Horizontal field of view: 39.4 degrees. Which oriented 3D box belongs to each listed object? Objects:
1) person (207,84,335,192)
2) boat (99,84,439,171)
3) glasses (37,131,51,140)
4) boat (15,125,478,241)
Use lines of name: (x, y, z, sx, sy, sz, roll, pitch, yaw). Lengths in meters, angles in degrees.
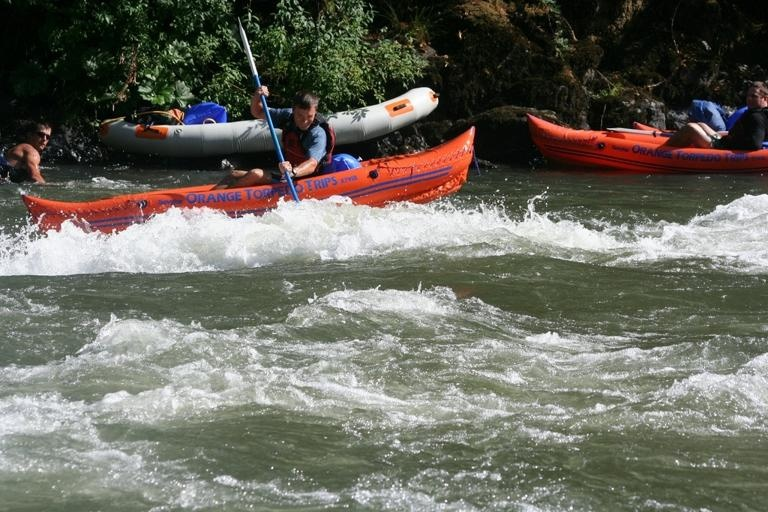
person: (-1.311, -1.565, 14.077, 1.709, 1.157, 1.200, -22, 58, -34)
boat: (-2.339, -2.105, 18.217, 6.626, 0.987, 1.846, -7, 13, -4)
glasses: (-5.325, -1.811, 16.110, 0.224, 0.096, 0.289, -3, 11, -6)
boat: (-2.082, -1.011, 14.985, 4.550, 0.706, 1.236, -11, 22, -10)
